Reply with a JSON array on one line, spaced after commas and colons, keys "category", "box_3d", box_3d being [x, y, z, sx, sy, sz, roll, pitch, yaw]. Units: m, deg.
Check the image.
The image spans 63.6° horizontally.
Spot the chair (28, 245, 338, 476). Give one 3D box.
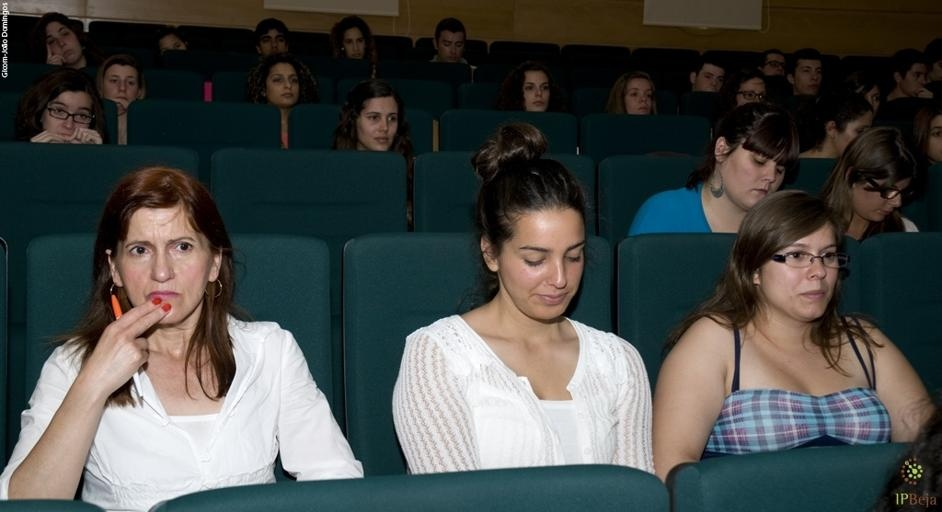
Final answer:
[{"category": "chair", "box_3d": [-0.949, 0.366, 3.037, 0.839, 1.113, 0.871, 0, -5, -9]}]

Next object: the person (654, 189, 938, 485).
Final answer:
[{"category": "person", "box_3d": [1.181, 0.276, 2.798, 1.116, 0.948, 0.588, 1, 1, -7]}]

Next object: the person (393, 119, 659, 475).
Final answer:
[{"category": "person", "box_3d": [0.173, 0.132, 2.558, 0.897, 1.166, 0.415, -1, 7, -8]}]
